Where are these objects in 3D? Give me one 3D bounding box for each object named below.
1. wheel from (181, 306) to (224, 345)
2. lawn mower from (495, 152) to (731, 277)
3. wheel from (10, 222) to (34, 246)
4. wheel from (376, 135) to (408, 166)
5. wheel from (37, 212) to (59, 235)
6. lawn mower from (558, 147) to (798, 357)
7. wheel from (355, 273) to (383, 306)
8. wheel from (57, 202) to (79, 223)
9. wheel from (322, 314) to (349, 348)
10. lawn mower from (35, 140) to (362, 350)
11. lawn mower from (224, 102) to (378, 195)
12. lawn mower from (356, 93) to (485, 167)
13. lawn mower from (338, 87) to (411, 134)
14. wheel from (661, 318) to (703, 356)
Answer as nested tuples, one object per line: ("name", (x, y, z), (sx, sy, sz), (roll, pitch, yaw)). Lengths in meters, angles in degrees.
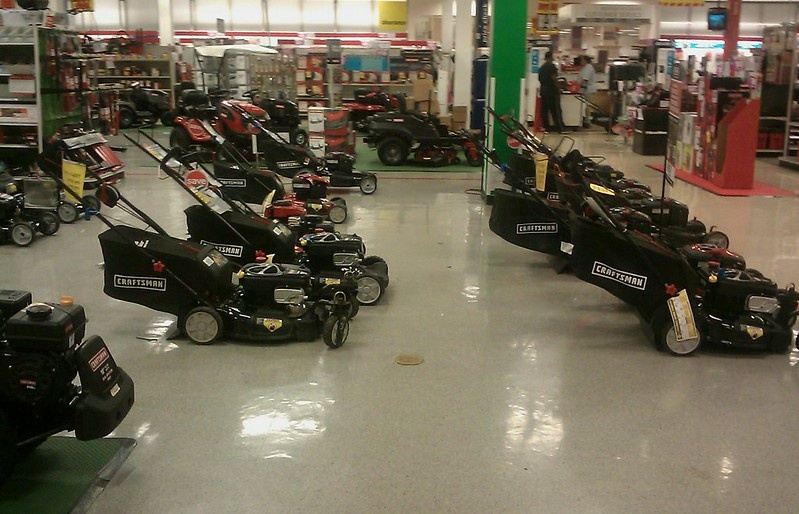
("wheel", (-1.791, 0.611, 5.235), (0.421, 0.339, 0.136), (3, 4, 2))
("lawn mower", (2.419, -0.398, 7.242), (2.857, 1.197, 1.753), (-3, 19, -3))
("wheel", (-5.055, -0.312, 7.687), (0.367, 0.297, 0.115), (5, 9, -5))
("wheel", (-0.142, -2.344, 12.399), (0.571, 0.495, 0.199), (22, 18, -6))
("wheel", (-4.953, -0.465, 8.108), (0.326, 0.281, 0.100), (-21, 13, -36))
("lawn mower", (2.624, -0.017, 5.716), (2.579, 1.588, 1.455), (-4, 23, 1))
("wheel", (-0.329, 0.334, 6.032), (0.405, 0.326, 0.142), (-1, 6, -5))
("wheel", (-4.972, -0.676, 8.596), (0.426, 0.344, 0.144), (1, 11, -7))
("wheel", (-0.579, 0.678, 5.215), (0.112, 0.241, 0.268), (12, 28, 33))
("lawn mower", (-1.623, 0.011, 5.308), (2.283, 1.578, 0.818), (-1, 19, 1))
("lawn mower", (-2.374, -2.020, 11.067), (4.380, 1.954, 1.258), (-1, 19, -3))
("lawn mower", (0.318, -2.861, 12.825), (3.066, 1.311, 1.871), (-1, 18, -3))
("lawn mower", (-0.758, -4.096, 16.549), (1.663, 1.442, 2.551), (9, 25, 23))
("wheel", (2.533, 0.711, 5.144), (0.414, 0.334, 0.155), (1, 10, -1))
